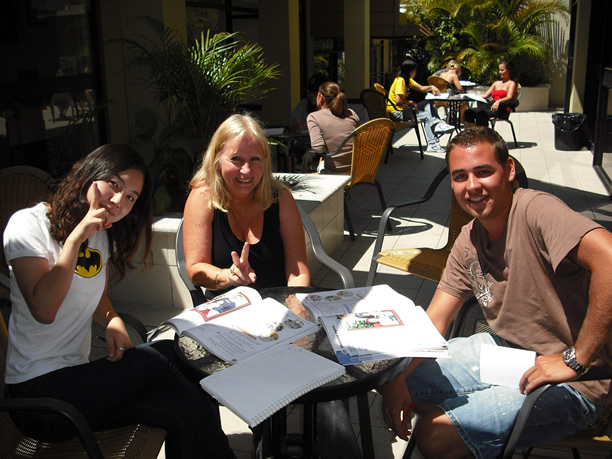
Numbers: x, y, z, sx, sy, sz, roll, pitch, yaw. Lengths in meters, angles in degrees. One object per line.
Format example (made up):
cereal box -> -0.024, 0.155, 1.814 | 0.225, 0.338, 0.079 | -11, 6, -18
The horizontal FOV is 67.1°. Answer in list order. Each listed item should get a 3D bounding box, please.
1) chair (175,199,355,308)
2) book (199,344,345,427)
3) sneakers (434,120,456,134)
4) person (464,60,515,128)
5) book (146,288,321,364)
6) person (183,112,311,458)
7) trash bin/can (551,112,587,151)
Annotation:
chair -> -0.265, 0.131, 2.517 | 0.591, 0.878, 0.598 | -17, 14, -27
book -> -0.104, 0.381, 1.384 | 0.250, 0.059, 0.323 | 19, 29, 38
sneakers -> 2.940, -2.159, 9.770 | 0.513, 0.312, 0.230 | 6, 23, 22
person -> 4.213, -3.084, 10.442 | 1.003, 1.504, 2.021 | 4, 11, 25
book -> -0.262, 0.374, 1.786 | 0.411, 0.081, 0.309 | 17, 20, 42
person -> -0.313, -0.064, 2.372 | 0.604, 0.972, 0.844 | -7, 17, -33
trash bin/can -> 5.159, -1.958, 9.336 | 0.630, 0.749, 0.734 | -3, 9, 5
